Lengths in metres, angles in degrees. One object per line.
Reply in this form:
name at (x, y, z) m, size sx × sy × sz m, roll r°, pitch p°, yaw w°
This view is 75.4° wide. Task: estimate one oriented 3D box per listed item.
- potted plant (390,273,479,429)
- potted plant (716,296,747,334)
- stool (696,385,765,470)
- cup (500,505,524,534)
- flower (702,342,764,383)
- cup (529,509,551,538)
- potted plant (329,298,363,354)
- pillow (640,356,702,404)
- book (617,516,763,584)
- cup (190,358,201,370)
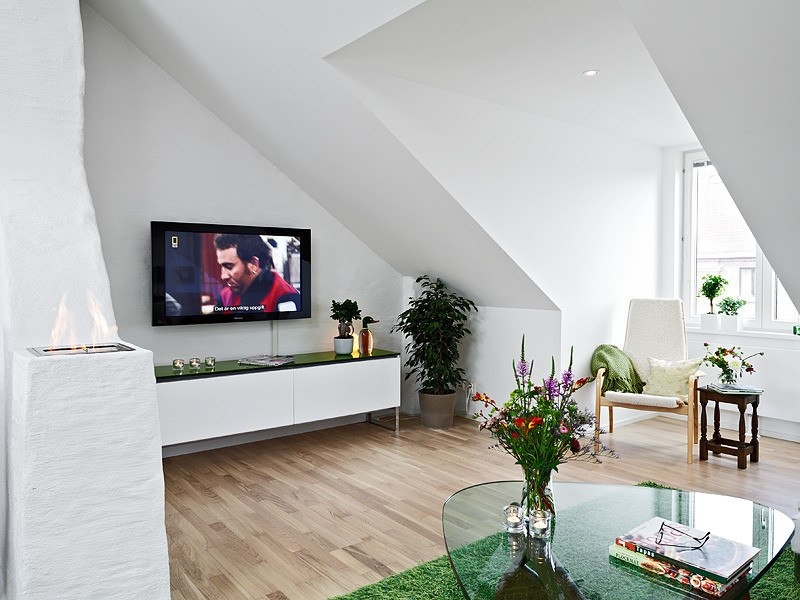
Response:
potted plant at (0.338, 0.466, 5.212) m, size 0.639 × 1.455 × 0.627 m, roll -4°, pitch 6°, yaw -43°
potted plant at (3.272, 0.129, 5.096) m, size 0.250 × 0.321 × 0.257 m, roll 3°, pitch 5°, yaw 35°
stool at (2.648, 0.984, 4.148) m, size 0.378 × 0.608 × 0.379 m, roll -4°, pitch 6°, yaw -43°
cup at (0.469, 0.900, 2.177) m, size 0.094 × 0.115 × 0.097 m, roll 0°, pitch 6°, yaw 0°
flower at (2.822, 0.527, 4.264) m, size 0.529 × 0.346 × 0.461 m, roll -1°, pitch 2°, yaw 12°
cup at (0.564, 0.894, 2.079) m, size 0.087 × 0.125 × 0.047 m, roll 1°, pitch 4°, yaw 11°
potted plant at (-0.524, 0.240, 4.916) m, size 0.277 × 0.502 × 0.408 m, roll -1°, pitch 4°, yaw -8°
pillow at (2.373, 0.669, 4.508) m, size 0.416 × 0.313 × 0.576 m, roll 2°, pitch 5°, yaw 32°
book at (1.108, 0.959, 1.977) m, size 0.274 × 0.040 × 0.254 m, roll -2°, pitch 4°, yaw -38°
cup at (-1.626, 0.496, 4.104) m, size 0.099 × 0.102 × 0.077 m, roll 1°, pitch 7°, yaw -1°
